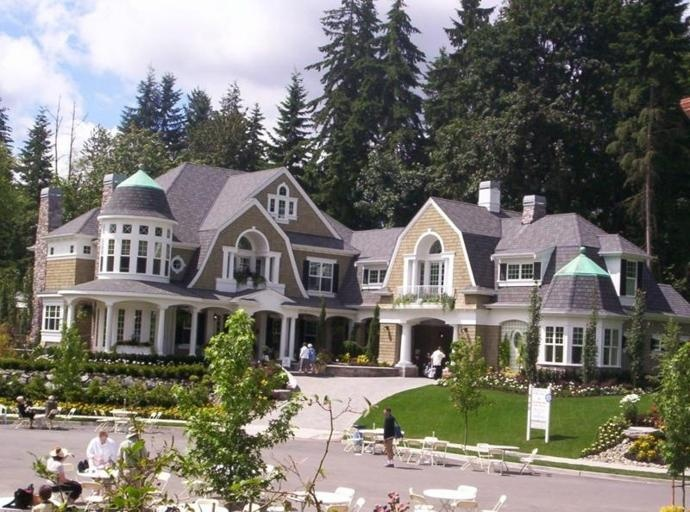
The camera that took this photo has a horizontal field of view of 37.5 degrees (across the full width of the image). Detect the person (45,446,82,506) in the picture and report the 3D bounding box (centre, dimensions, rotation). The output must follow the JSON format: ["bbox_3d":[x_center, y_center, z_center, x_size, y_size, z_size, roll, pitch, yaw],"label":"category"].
[{"bbox_3d":[-9.910,8.133,36.473,1.139,1.729,1.135,15,0,27],"label":"person"}]

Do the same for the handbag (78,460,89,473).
[{"bbox_3d":[-9.914,7.888,38.306,0.494,0.529,0.316,-7,-10,29],"label":"handbag"}]

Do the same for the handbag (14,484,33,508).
[{"bbox_3d":[-10.786,8.002,34.149,0.567,0.865,0.301,20,-1,-38],"label":"handbag"}]

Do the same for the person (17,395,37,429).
[{"bbox_3d":[-15.464,7.521,49.614,0.703,1.353,1.713,-2,8,-29],"label":"person"}]

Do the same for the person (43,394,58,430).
[{"bbox_3d":[-14.313,7.572,49.713,0.636,1.629,1.769,-1,8,-17],"label":"person"}]

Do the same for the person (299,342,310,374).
[{"bbox_3d":[-2.536,6.435,64.204,0.603,1.585,0.992,1,7,-2],"label":"person"}]
